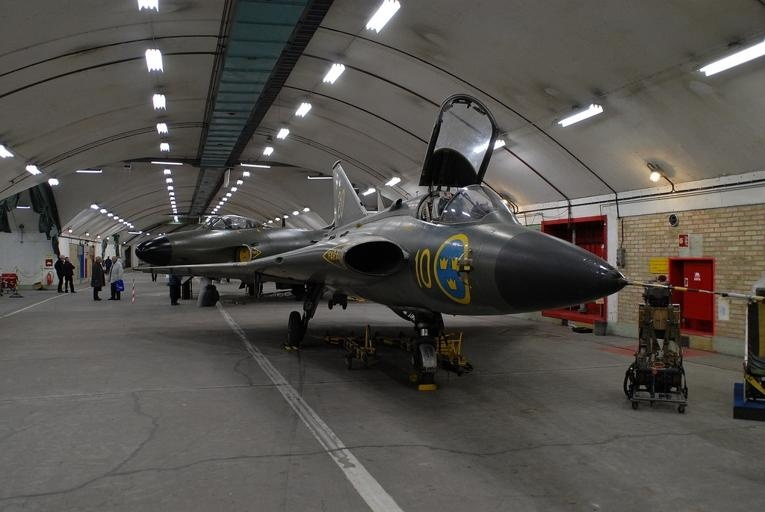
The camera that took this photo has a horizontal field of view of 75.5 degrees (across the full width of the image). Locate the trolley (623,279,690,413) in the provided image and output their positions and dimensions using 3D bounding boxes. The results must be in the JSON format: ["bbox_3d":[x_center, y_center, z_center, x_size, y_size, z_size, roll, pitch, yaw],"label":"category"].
[{"bbox_3d":[4.172,1.295,7.472,0.863,1.907,1.432,3,6,32],"label":"trolley"}]

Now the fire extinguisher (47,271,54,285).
[{"bbox_3d":[-18.260,1.190,27.070,0.200,0.730,0.500,0,5,-2],"label":"fire extinguisher"}]

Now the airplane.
[{"bbox_3d":[1.478,-0.634,11.589,7.240,3.404,8.949,-2,6,-27],"label":"airplane"}]
